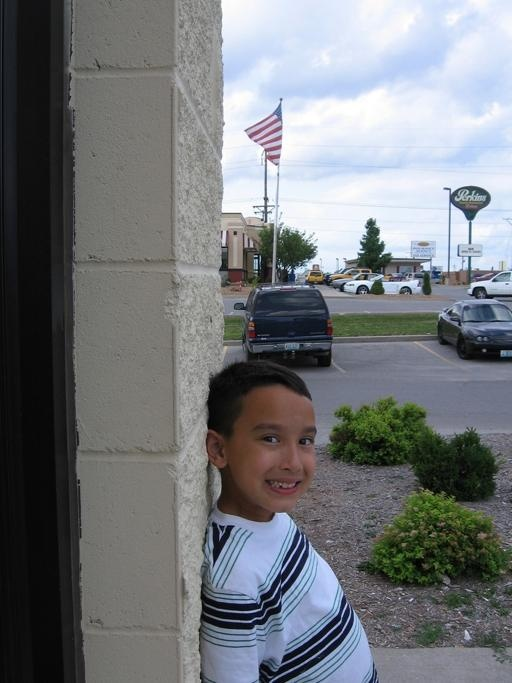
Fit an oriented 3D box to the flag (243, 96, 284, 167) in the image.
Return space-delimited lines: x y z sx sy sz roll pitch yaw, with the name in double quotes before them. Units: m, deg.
"flag" 0.379 -6.714 24.750 1.232 1.965 0.917 -1 5 43
